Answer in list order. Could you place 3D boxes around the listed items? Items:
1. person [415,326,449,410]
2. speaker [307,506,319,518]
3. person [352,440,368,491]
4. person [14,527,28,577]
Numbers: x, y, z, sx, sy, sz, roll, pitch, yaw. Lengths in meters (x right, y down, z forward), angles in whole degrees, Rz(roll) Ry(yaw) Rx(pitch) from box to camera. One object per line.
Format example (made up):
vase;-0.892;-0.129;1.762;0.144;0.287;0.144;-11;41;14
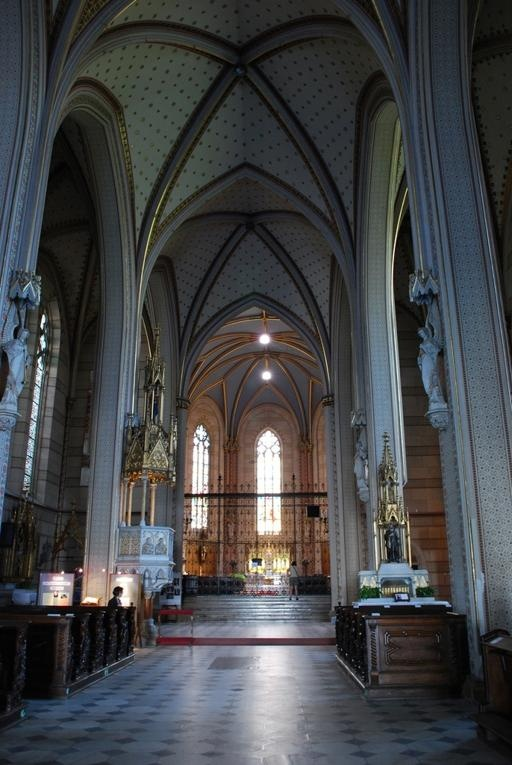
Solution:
person;1.956;-0.200;5.760;0.220;1.134;0.515;-2;-17;5
speaker;2.641;6.004;23.537;0.523;0.612;0.550;0;-4;3
person;2.369;1.883;11.415;0.210;1.134;0.460;13;-22;-40
person;-5.452;3.885;11.921;0.293;1.142;0.463;6;-18;-22
